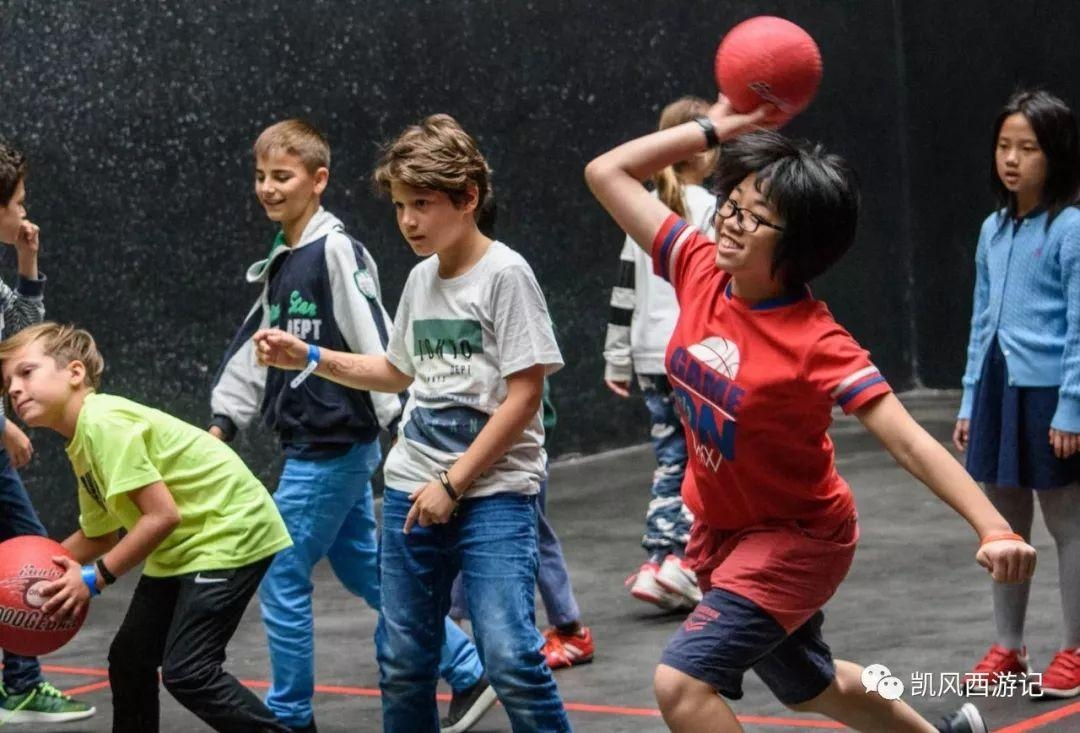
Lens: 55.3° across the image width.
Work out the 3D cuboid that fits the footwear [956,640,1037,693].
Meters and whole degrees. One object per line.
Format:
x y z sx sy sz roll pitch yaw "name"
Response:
1.939 1.277 4.375 0.369 0.150 0.138 -5 4 -25 "footwear"
